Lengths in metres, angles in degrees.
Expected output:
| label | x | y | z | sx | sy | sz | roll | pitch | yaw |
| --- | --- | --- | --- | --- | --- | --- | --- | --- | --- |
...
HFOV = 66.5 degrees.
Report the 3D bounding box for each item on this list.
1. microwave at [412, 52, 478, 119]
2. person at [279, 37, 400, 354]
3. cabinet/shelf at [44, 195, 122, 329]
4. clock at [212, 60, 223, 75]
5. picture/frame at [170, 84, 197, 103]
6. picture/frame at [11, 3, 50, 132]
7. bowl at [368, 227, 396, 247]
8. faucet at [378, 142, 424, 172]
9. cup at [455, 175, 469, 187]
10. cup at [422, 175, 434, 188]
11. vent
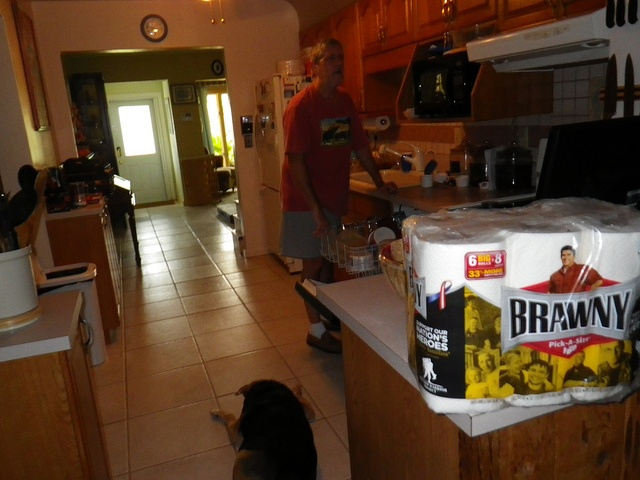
| label | x | y | z | sx | sy | sz | roll | pitch | yaw |
| --- | --- | --- | --- | --- | --- | --- | --- | --- | --- |
| microwave | 0.903 | -1.027 | 3.278 | 0.288 | 0.406 | 0.574 | -17 | 20 | -26 |
| person | 0.090 | -0.241 | 3.184 | 0.669 | 1.982 | 0.495 | -16 | 18 | -34 |
| cabinet/shelf | -1.589 | 0.132 | 3.274 | 0.328 | 0.826 | 0.868 | -13 | 14 | -11 |
| clock | -1.863 | -3.138 | 8.930 | 0.191 | 0.298 | 0.445 | -9 | 16 | -12 |
| picture/frame | -2.557 | -2.750 | 9.216 | 0.375 | 0.376 | 0.090 | -3 | 12 | -15 |
| picture/frame | -2.507 | -1.491 | 4.298 | 0.082 | 1.052 | 1.002 | -11 | 17 | -21 |
| bowl | 0.269 | -0.016 | 2.135 | 0.082 | 0.085 | 0.061 | -29 | 3 | -12 |
| faucet | 0.655 | -0.693 | 4.040 | 0.393 | 0.206 | 0.093 | 8 | -9 | -12 |
| cup | 0.970 | -0.403 | 3.345 | 0.074 | 0.063 | 0.077 | -1 | 9 | 0 |
| cup | 0.750 | -0.409 | 3.430 | 0.063 | 0.073 | 0.084 | -2 | 5 | -3 |
| vent | 1.136 | -0.973 | 2.449 | 0.438 | 0.201 | 0.836 | -13 | 18 | -24 |
